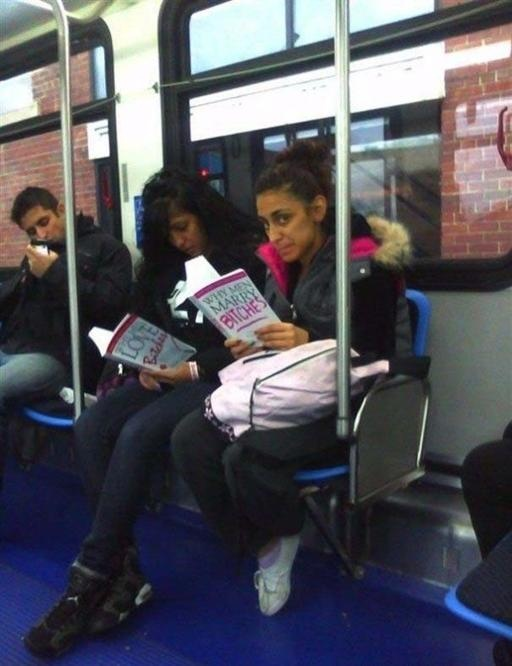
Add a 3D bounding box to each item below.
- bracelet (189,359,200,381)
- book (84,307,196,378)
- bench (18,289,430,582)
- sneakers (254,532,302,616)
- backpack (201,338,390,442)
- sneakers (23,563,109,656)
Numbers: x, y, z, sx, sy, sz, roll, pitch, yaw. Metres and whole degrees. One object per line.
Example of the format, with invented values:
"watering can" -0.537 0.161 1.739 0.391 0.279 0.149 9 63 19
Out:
"bracelet" -0.177 0.108 1.593 0.017 0.053 0.053 -11 6 1
"book" -0.334 0.023 1.672 0.029 0.146 0.264 40 11 34
"bench" 0.100 0.220 1.490 0.603 0.814 0.590 11 6 40
"sneakers" 0.050 0.596 1.410 0.091 0.230 0.088 5 14 -5
"backpack" 0.083 0.145 1.265 0.351 0.129 0.213 -23 34 10
"sneakers" -0.478 0.709 1.419 0.067 0.200 0.084 29 -11 10
